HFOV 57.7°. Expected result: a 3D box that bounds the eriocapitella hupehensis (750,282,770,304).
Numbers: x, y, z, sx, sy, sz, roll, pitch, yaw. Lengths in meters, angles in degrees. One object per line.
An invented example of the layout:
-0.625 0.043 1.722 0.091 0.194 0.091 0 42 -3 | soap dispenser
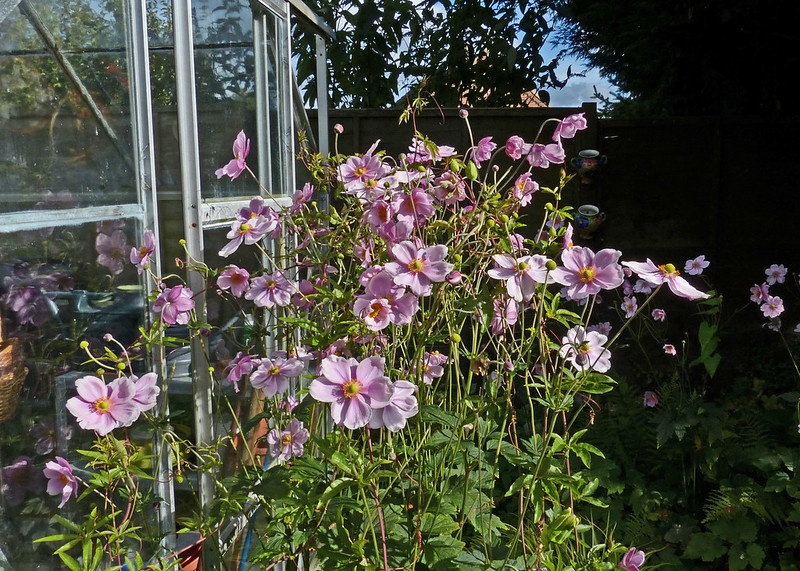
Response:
1.905 0.042 3.814 0.100 0.118 0.053 16 17 41 | eriocapitella hupehensis

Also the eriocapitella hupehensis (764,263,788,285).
2.059 -0.060 3.941 0.132 0.144 0.068 6 28 34 | eriocapitella hupehensis

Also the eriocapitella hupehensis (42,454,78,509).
-0.873 0.500 1.877 0.082 0.047 0.083 2 8 -31 | eriocapitella hupehensis

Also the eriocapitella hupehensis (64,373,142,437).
-0.709 0.285 1.729 0.176 0.064 0.188 9 19 10 | eriocapitella hupehensis

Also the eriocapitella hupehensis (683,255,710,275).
1.489 -0.105 3.607 0.096 0.028 0.093 17 -43 -40 | eriocapitella hupehensis

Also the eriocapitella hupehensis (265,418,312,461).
-0.316 0.433 2.049 0.082 0.036 0.096 -6 33 34 | eriocapitella hupehensis

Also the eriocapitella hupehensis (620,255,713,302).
0.684 -0.022 1.828 0.192 0.058 0.202 8 -16 28 | eriocapitella hupehensis
